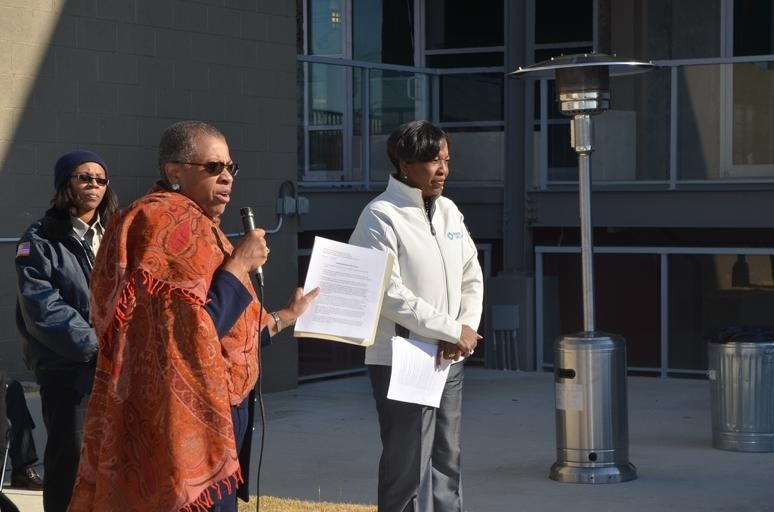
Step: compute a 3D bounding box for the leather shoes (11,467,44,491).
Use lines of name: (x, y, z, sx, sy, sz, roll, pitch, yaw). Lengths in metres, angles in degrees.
leather shoes: (-3.278, 2.021, 11.775, 0.415, 0.200, 0.172, 2, -2, 7)

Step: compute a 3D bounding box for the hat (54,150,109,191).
hat: (-2.486, -0.731, 10.558, 0.342, 0.212, 0.348, -33, -16, 21)
